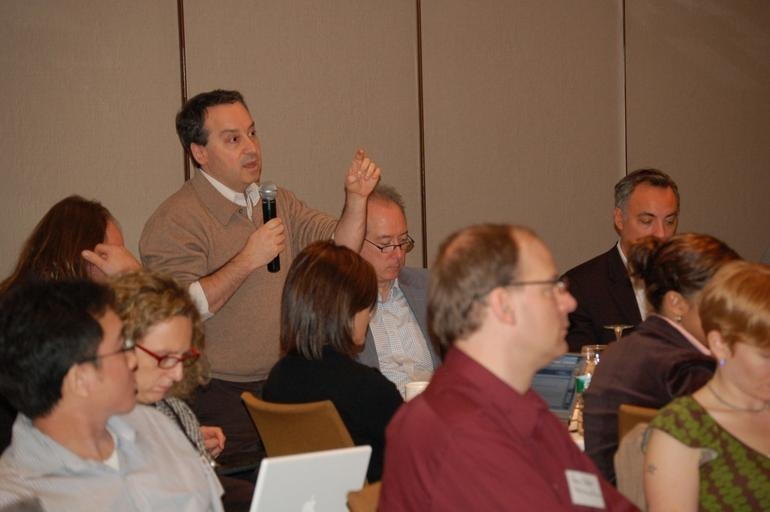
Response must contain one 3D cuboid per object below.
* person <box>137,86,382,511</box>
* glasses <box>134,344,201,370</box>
[{"bbox_3d":[-0.641,0.697,3.547,1.111,3.068,0.833,-11,17,-34],"label":"person"},{"bbox_3d":[-0.794,0.378,2.231,0.118,0.038,0.123,25,8,28],"label":"glasses"}]
